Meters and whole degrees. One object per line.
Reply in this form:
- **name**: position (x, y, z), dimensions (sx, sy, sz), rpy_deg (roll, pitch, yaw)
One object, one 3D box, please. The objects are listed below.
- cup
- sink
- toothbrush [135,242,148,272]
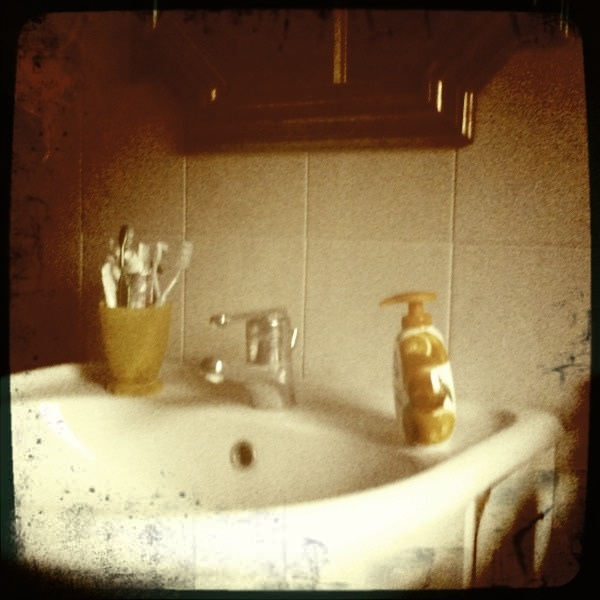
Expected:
- **cup**: position (-0.284, 0.084, 1.292), dimensions (0.142, 0.135, 0.143), rpy_deg (1, 4, 0)
- **sink**: position (-0.094, 0.349, 1.389), dimensions (1.128, 0.211, 0.551), rpy_deg (7, 3, -15)
- **toothbrush**: position (-0.274, -0.075, 1.246), dimensions (0.030, 0.043, 0.011), rpy_deg (0, 1, 2)
